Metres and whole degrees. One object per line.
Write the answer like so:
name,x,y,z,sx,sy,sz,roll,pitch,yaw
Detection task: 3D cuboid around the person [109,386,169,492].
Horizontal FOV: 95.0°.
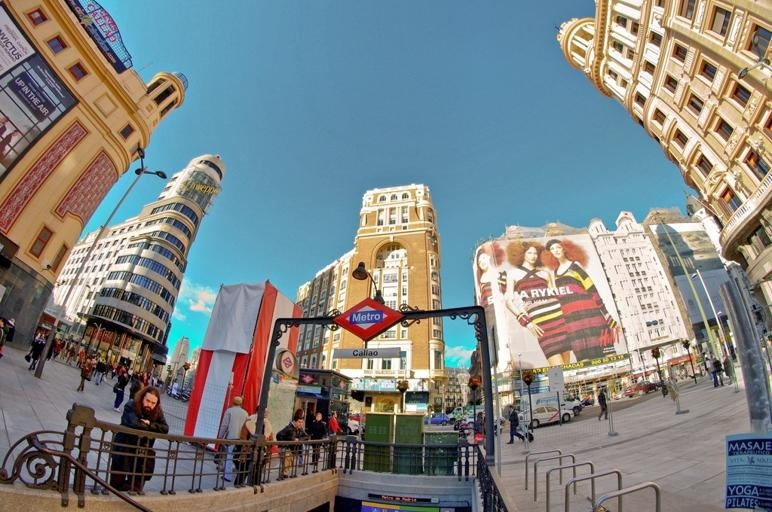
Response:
person,-6.487,4.866,9.372,1.097,2.767,1.022,11,-7,-15

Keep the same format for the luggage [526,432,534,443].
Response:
luggage,8.822,10.929,21.494,0.311,0.494,0.755,-11,-35,15
